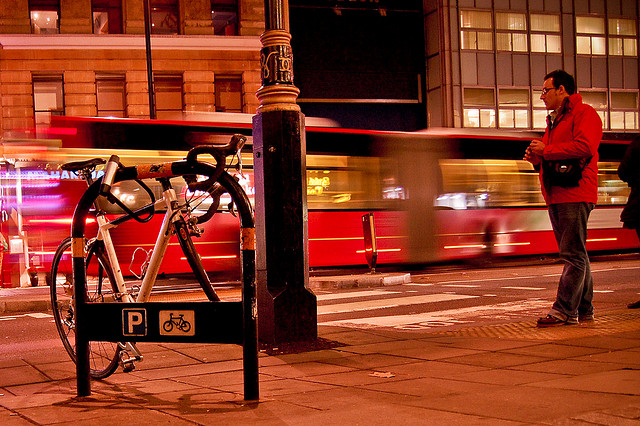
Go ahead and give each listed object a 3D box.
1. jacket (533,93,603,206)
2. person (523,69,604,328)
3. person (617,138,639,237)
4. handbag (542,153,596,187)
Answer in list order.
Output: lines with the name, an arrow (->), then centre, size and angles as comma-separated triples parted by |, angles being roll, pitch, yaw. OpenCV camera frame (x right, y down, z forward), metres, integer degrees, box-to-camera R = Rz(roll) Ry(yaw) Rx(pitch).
jacket -> 3.404, -0.885, 10.669 | 0.803, 1.536, 0.695 | -1, 4, 27
person -> 3.382, -0.211, 10.703 | 0.916, 3.556, 0.696 | -1, 4, 20
person -> 4.744, -0.418, 11.978 | 0.299, 1.468, 0.512 | -1, 4, 20
handbag -> 3.336, -0.571, 10.499 | 0.641, 0.518, 0.416 | 3, 2, 13
